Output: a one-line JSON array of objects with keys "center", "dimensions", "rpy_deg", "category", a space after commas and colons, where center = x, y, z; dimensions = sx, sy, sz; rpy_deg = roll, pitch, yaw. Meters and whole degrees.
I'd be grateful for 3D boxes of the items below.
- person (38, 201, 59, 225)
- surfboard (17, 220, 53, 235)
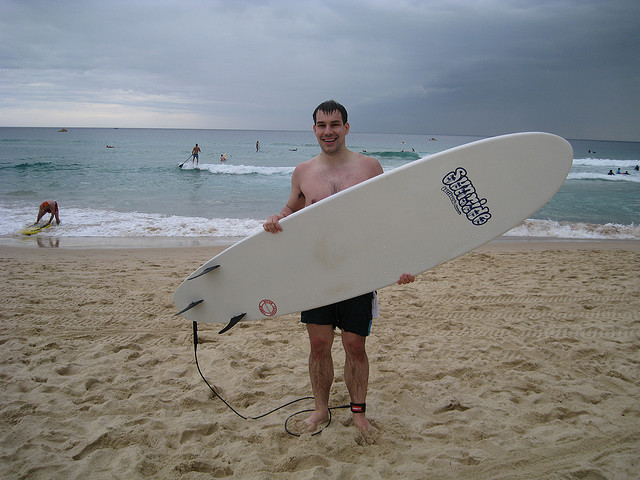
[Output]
[{"center": [-5.346, -0.525, 10.366], "dimensions": [0.362, 0.449, 0.748], "rpy_deg": [-4, 10, -25], "category": "person"}, {"center": [-5.337, -0.202, 9.893], "dimensions": [0.178, 0.093, 0.664], "rpy_deg": [6, 14, -4], "category": "surfboard"}]
